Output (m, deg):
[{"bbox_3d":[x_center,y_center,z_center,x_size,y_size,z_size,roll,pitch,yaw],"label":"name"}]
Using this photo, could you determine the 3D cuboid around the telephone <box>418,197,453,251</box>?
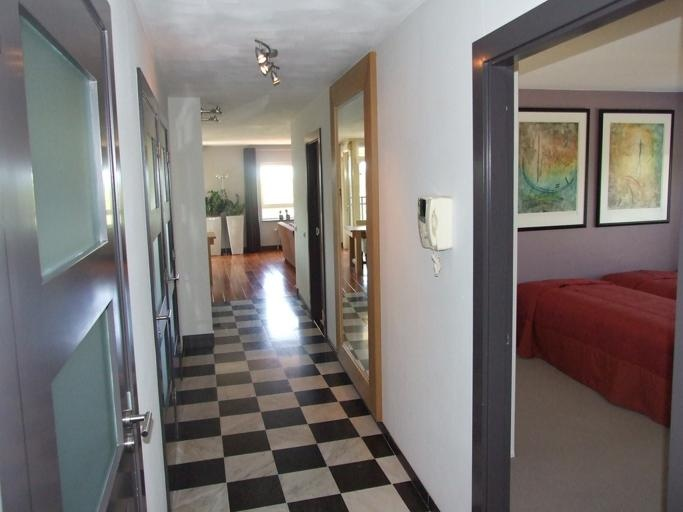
[{"bbox_3d":[0.464,-0.171,2.530,0.135,0.280,0.163,-9,16,-4],"label":"telephone"}]

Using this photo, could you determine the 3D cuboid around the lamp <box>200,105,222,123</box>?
[{"bbox_3d":[-1.585,-1.681,6.160,0.247,0.153,1.376,-5,11,-13],"label":"lamp"}]

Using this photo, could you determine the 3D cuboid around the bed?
[{"bbox_3d":[2.112,0.635,4.082,1.014,0.320,1.071,-5,9,-20],"label":"bed"}]

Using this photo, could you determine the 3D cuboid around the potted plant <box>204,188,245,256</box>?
[{"bbox_3d":[-2.776,-0.809,12.190,0.870,1.601,0.811,-5,10,-15],"label":"potted plant"}]
